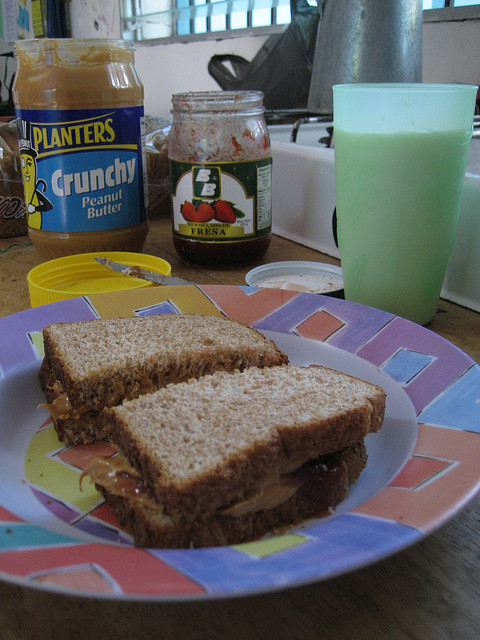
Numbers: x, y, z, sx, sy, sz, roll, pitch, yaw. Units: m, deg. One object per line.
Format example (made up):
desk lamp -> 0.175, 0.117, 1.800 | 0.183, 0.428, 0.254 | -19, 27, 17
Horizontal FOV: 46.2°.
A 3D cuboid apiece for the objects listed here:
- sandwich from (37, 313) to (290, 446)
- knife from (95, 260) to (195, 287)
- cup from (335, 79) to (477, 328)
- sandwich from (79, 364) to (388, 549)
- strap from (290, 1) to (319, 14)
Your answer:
sandwich -> -0.089, 0.038, 0.625 | 0.206, 0.067, 0.145 | -8, 18, -24
knife -> -0.154, -0.072, 0.880 | 0.173, 0.003, 0.025 | 17, 66, 24
cup -> 0.199, -0.138, 0.728 | 0.179, 0.309, 0.107 | 5, 25, 7
sandwich -> 0.013, 0.099, 0.483 | 0.258, 0.071, 0.175 | -16, 30, -35
strap -> 0.173, -0.863, 1.556 | 0.015, 0.037, 0.145 | -8, 26, -22
